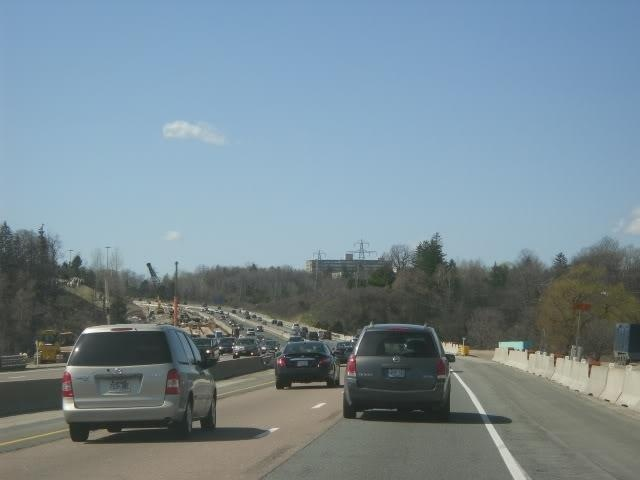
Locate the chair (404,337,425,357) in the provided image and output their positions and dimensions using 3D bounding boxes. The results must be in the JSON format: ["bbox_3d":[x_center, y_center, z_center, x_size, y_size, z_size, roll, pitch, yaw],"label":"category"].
[{"bbox_3d":[2.283,2.601,17.504,0.400,0.443,0.405,1,-6,-1],"label":"chair"}]

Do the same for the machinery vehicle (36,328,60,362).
[{"bbox_3d":[-27.695,11.177,73.988,2.703,2.535,4.921,1,-7,-21],"label":"machinery vehicle"}]

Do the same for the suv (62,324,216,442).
[{"bbox_3d":[-3.603,2.995,15.801,1.836,1.672,3.455,-2,-3,9],"label":"suv"}]

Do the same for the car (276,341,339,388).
[{"bbox_3d":[-0.333,4.933,28.721,1.916,1.843,2.553,-6,-11,41],"label":"car"}]
